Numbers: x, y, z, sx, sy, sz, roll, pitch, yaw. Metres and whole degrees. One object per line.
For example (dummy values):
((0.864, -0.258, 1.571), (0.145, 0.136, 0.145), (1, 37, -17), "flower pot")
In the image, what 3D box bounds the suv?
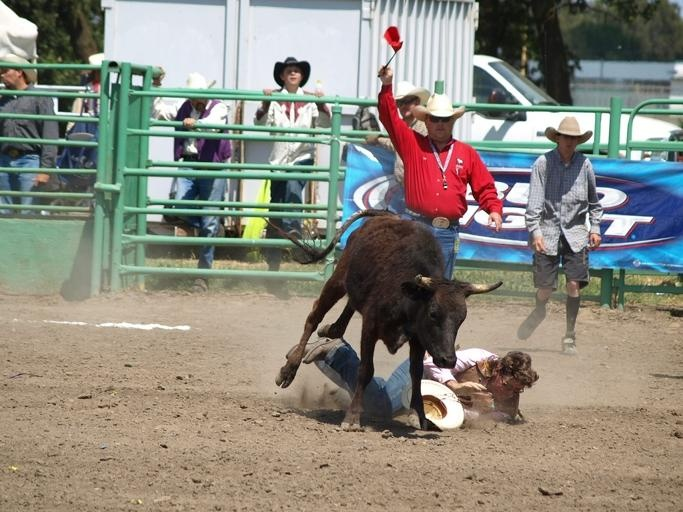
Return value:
((3.575, -2.267, 16.030), (3.366, 1.401, 1.569), (0, 9, 4), "suv")

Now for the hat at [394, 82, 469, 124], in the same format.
((0.997, -1.649, 10.762), (0.652, 0.226, 0.643), (12, -5, 15), "hat")

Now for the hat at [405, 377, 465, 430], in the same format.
((0.888, 1.344, 9.646), (0.477, 0.119, 0.461), (-2, 42, -37), "hat")

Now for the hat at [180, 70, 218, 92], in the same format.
((-1.884, -2.248, 13.849), (0.433, 0.224, 0.601), (1, 7, -2), "hat")

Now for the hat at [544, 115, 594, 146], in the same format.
((2.483, -1.416, 11.691), (0.383, 0.164, 0.408), (4, -20, -1), "hat")

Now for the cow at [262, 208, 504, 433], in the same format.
((0.380, 0.562, 9.445), (0.859, 1.952, 1.965), (1, 2, -36), "cow")
